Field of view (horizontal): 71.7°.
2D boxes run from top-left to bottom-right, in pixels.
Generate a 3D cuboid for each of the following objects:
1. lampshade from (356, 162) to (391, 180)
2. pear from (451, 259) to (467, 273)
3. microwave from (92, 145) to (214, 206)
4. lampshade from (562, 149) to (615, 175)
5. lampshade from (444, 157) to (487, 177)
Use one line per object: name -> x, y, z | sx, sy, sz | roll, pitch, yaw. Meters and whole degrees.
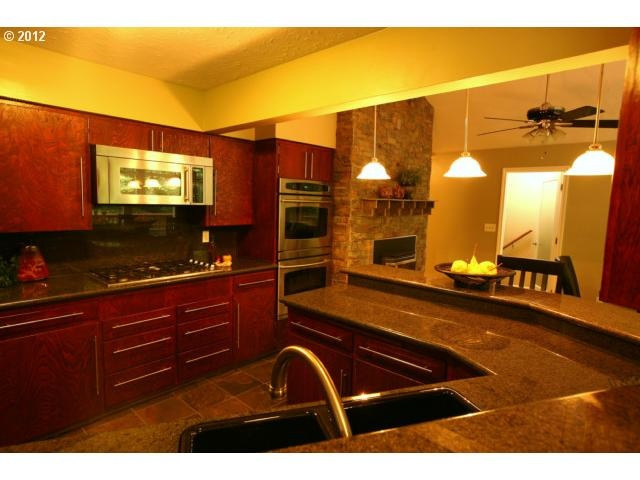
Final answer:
lampshade -> 0.406, -0.515, 3.427 | 0.222, 0.104, 0.211 | 0, 8, -3
pear -> 0.863, 0.161, 2.769 | 0.079, 0.074, 0.077 | -1, 3, -35
microwave -> -1.316, -0.473, 3.542 | 0.334, 0.416, 0.956 | 4, 5, 41
lampshade -> 1.735, -0.495, 2.805 | 0.194, 0.159, 0.344 | -2, 6, -12
lampshade -> 1.004, -0.512, 3.098 | 0.243, 0.128, 0.117 | 1, 7, 15
